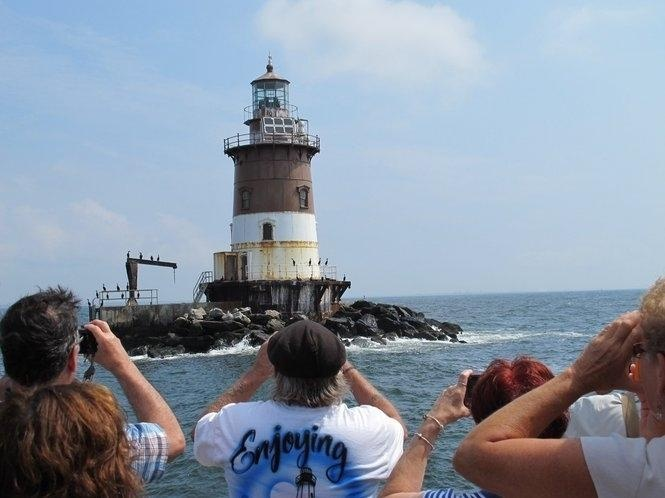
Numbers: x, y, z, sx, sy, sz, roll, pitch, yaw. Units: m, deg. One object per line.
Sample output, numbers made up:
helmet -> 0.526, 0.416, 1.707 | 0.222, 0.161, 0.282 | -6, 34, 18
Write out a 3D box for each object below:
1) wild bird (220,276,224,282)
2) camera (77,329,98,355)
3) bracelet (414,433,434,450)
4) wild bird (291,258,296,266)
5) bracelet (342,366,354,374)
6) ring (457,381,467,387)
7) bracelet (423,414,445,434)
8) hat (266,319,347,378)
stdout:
wild bird -> -4.701, 1.309, 35.128 | 0.188, 0.219, 0.362 | 0, -5, -12
camera -> -1.438, 0.549, 4.796 | 0.150, 0.113, 0.092 | 3, 4, 12
bracelet -> 0.535, 1.142, 4.716 | 0.096, 0.026, 0.085 | 41, -25, -13
wild bird -> -1.637, 0.611, 35.358 | 0.105, 0.298, 0.090 | -15, 7, -42
bracelet -> 0.104, 0.770, 5.154 | 0.048, 0.056, 0.054 | 1, -23, -12
ring -> 0.801, 0.823, 4.978 | 0.039, 0.046, 0.031 | 0, 13, -13
bracelet -> 0.612, 1.036, 4.837 | 0.126, 0.045, 0.115 | 41, -8, 13
hat -> -0.152, 0.601, 4.720 | 0.352, 0.177, 0.356 | 0, 17, -8
